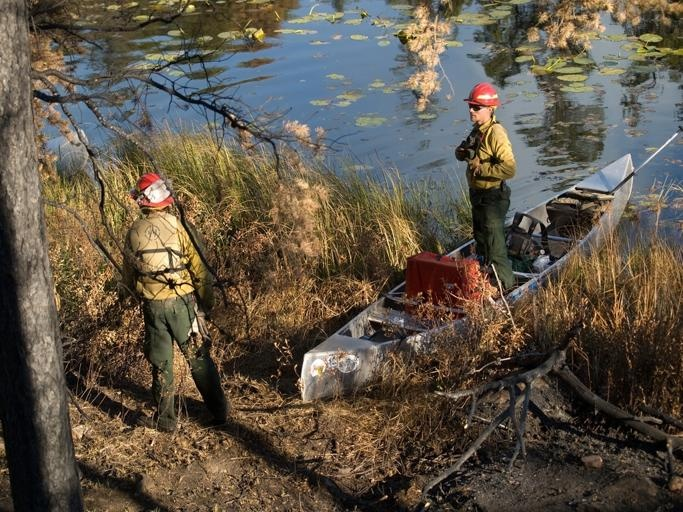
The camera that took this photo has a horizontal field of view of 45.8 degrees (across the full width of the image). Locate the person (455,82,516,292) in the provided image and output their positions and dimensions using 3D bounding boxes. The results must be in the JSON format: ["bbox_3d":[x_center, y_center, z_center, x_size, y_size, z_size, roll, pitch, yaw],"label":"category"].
[{"bbox_3d":[1.683,-0.771,9.261,0.526,2.215,0.916,-7,17,-9],"label":"person"}]

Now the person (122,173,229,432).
[{"bbox_3d":[-1.640,0.529,7.838,0.840,2.483,0.614,-6,17,-6],"label":"person"}]

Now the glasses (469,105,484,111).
[{"bbox_3d":[1.543,-1.682,9.252,0.082,0.037,0.107,8,4,44],"label":"glasses"}]

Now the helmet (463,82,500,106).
[{"bbox_3d":[1.664,-1.841,9.356,0.268,0.211,0.361,17,21,31],"label":"helmet"}]

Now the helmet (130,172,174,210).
[{"bbox_3d":[-1.880,-0.612,7.831,0.372,0.378,0.307,0,17,13],"label":"helmet"}]
